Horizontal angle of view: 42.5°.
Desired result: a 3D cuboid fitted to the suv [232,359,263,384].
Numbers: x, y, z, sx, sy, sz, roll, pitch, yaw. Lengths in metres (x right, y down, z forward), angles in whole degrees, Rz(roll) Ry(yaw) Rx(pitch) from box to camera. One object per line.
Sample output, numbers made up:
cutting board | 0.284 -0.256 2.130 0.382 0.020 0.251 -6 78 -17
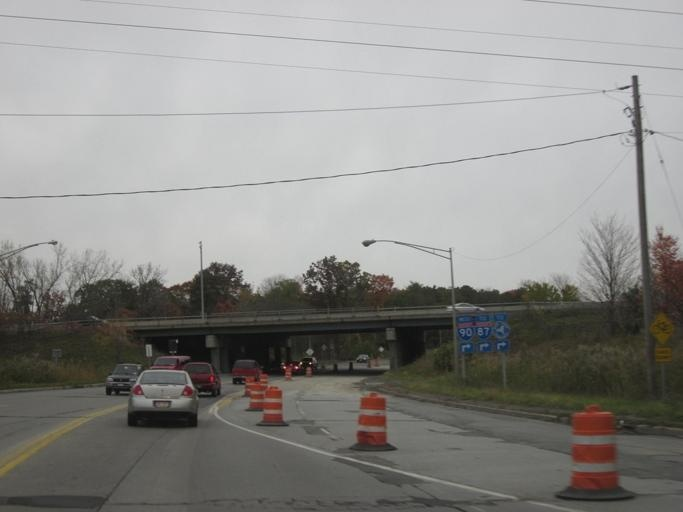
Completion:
suv | -6.175 7.468 55.749 1.242 1.278 2.615 0 2 4

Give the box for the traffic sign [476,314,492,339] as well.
traffic sign | 6.761 3.338 41.805 0.947 1.631 0.192 0 -2 10

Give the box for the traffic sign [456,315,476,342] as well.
traffic sign | 6.075 3.502 42.872 1.136 1.872 0.221 -1 -5 18

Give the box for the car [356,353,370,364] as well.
car | 3.112 15.137 129.720 1.657 1.427 3.046 -2 -13 8
